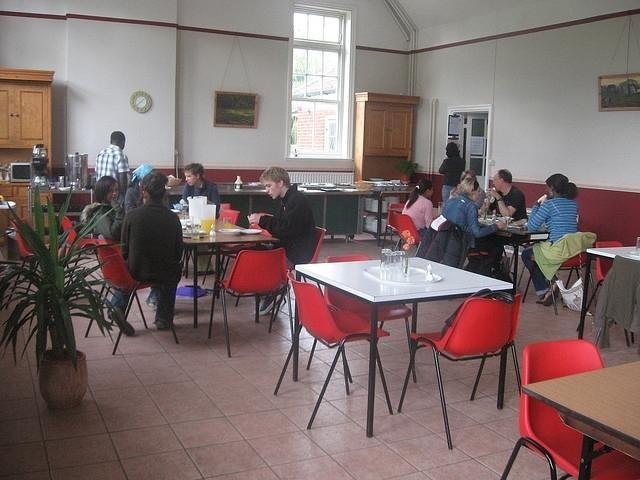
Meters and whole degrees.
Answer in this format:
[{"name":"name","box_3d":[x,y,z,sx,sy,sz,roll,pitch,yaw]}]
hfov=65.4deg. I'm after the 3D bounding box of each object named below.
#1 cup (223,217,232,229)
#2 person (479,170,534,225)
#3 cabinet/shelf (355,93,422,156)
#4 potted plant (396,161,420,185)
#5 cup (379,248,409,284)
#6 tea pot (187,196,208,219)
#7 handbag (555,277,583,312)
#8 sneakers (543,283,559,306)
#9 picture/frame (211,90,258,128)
[{"name":"cup","box_3d":[-0.978,-0.184,5.278,0.073,0.116,0.117,0,-1,0]},{"name":"person","box_3d":[2.675,-0.553,7.233,0.629,0.934,0.572,6,24,32]},{"name":"cabinet/shelf","box_3d":[1.482,-2.626,11.205,1.408,1.397,0.563,0,8,-21]},{"name":"potted plant","box_3d":[2.020,-1.576,11.573,0.587,0.641,0.527,-1,2,-7]},{"name":"cup","box_3d":[0.506,0.193,3.534,0.198,0.277,0.204,-1,0,0]},{"name":"tea pot","box_3d":[-1.296,-0.354,5.326,0.240,0.293,0.211,1,0,18]},{"name":"handbag","box_3d":[2.951,0.655,5.879,0.231,0.412,0.350,-10,9,-35]},{"name":"sneakers","box_3d":[2.828,0.663,6.089,0.103,0.281,0.118,8,44,-1]},{"name":"picture/frame","box_3d":[-1.795,-2.721,10.224,0.776,0.674,0.076,-1,7,-23]}]
